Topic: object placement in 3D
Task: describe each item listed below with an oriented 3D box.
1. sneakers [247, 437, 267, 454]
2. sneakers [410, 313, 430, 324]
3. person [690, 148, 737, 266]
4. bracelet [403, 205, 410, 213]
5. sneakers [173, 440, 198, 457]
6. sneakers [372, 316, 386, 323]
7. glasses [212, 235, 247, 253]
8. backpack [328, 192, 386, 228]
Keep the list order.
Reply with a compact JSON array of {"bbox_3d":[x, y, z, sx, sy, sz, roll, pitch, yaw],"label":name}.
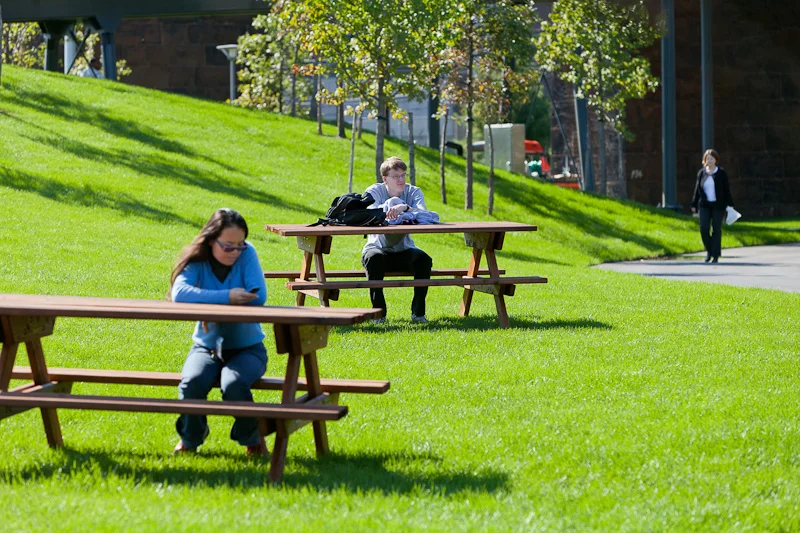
[{"bbox_3d":[-1.457,1.863,12.223,0.237,0.249,0.154,5,-9,-18],"label":"sneakers"},{"bbox_3d":[0.294,0.775,17.212,0.288,0.128,0.108,-1,-2,44],"label":"sneakers"},{"bbox_3d":[6.968,-1.289,26.040,0.823,2.585,1.007,2,13,16],"label":"person"},{"bbox_3d":[0.106,-0.854,17.172,0.072,0.062,0.078,0,2,22],"label":"bracelet"},{"bbox_3d":[-2.218,1.868,12.099,0.188,0.084,0.144,5,-1,4],"label":"sneakers"},{"bbox_3d":[-0.246,0.788,17.170,0.247,0.108,0.258,0,1,23],"label":"sneakers"},{"bbox_3d":[-1.772,-0.226,12.188,0.290,0.147,0.098,-4,13,-13],"label":"glasses"},{"bbox_3d":[-0.649,-0.775,16.943,0.511,0.264,0.645,3,-4,-38],"label":"backpack"}]
